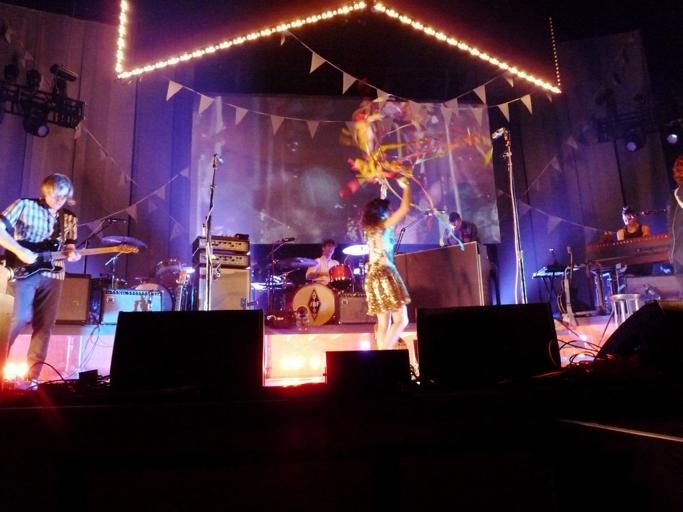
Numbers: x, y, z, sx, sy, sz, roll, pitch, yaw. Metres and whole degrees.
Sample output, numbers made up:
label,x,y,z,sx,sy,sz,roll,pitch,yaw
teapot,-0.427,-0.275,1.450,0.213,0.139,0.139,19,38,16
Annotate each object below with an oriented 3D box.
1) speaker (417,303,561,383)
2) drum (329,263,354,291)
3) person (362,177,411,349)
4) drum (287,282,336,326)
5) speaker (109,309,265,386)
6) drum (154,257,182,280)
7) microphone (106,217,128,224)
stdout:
label,x,y,z,sx,sy,sz,roll,pitch,yaw
speaker,0.746,0.431,2.813,0.702,0.354,0.176,-2,9,-1
drum,-0.009,0.291,6.911,0.284,0.238,0.301,-2,-31,-1
person,0.384,0.093,4.757,0.396,1.304,0.494,-1,9,2
drum,-0.314,0.577,6.208,0.501,0.430,0.599,-3,10,-7
speaker,-0.755,0.454,2.690,0.738,0.362,0.171,-2,9,-2
drum,-2.077,0.155,6.595,0.399,0.196,0.237,3,11,27
microphone,-2.924,-0.458,7.119,0.277,0.082,0.103,2,3,33
